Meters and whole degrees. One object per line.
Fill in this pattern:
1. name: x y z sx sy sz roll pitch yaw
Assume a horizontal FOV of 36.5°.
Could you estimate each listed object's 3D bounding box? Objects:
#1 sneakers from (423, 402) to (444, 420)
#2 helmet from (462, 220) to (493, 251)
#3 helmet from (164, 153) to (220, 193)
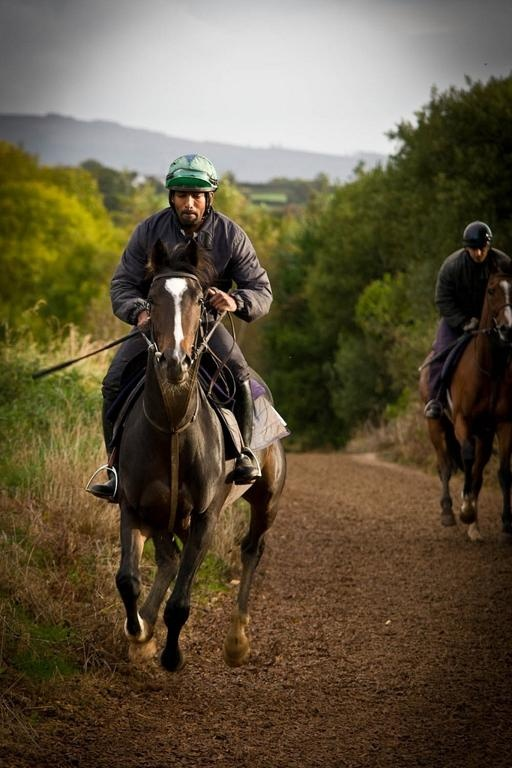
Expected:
1. sneakers: 2.072 0.317 9.194 0.156 0.217 0.227 0 -12 2
2. helmet: 2.285 -1.562 8.056 0.239 0.190 0.311 0 46 11
3. helmet: -0.447 -1.430 5.241 0.342 0.301 0.318 -8 5 -3
